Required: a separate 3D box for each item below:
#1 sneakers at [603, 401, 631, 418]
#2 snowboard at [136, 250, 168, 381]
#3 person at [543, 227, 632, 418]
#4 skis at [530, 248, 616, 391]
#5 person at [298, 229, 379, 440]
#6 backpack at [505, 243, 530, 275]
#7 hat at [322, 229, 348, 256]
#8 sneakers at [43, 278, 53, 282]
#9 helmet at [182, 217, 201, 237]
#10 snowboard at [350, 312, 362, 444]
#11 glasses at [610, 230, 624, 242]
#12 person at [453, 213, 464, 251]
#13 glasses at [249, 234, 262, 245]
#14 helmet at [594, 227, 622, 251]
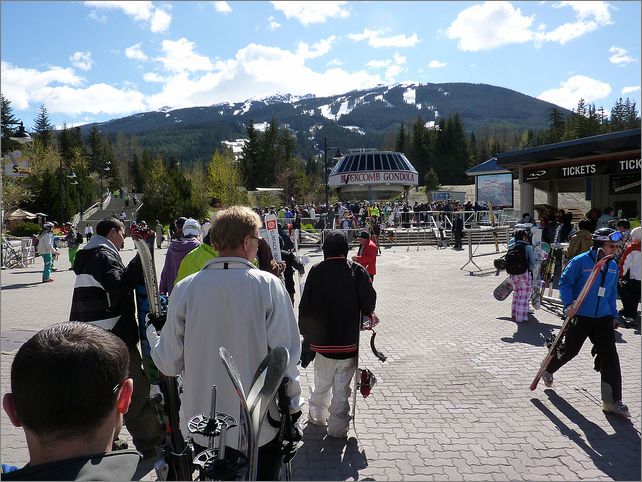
[{"bbox_3d":[3.260,1.854,6.016,0.128,0.133,0.284,1,-4,-35],"label":"sneakers"},{"bbox_3d":[-1.676,0.713,5.114,0.164,1.300,0.255,-4,-6,7],"label":"snowboard"},{"bbox_3d":[3.241,0.907,6.383,0.855,2.026,1.079,-2,5,-10],"label":"person"},{"bbox_3d":[3.414,1.122,7.412,0.236,1.800,0.190,23,19,31],"label":"skis"},{"bbox_3d":[0.160,0.972,5.751,0.698,2.121,0.545,1,6,27],"label":"person"},{"bbox_3d":[3.666,0.353,10.136,0.536,0.589,0.370,17,-16,-38],"label":"backpack"},{"bbox_3d":[0.167,0.038,5.860,0.299,0.397,0.238,3,6,10],"label":"hat"},{"bbox_3d":[-8.579,1.244,17.036,0.272,0.112,0.431,-4,6,-26],"label":"sneakers"},{"bbox_3d":[-1.627,-0.152,6.760,0.179,0.272,0.227,4,9,-8],"label":"helmet"},{"bbox_3d":[0.327,1.494,5.858,0.090,1.337,0.151,4,8,5],"label":"snowboard"},{"bbox_3d":[4.003,-0.057,7.362,0.214,0.091,0.227,1,4,29],"label":"glasses"},{"bbox_3d":[6.740,-0.368,26.716,0.415,1.617,1.289,0,5,12],"label":"person"},{"bbox_3d":[-0.526,-0.008,4.343,0.091,0.031,0.095,16,3,20],"label":"glasses"},{"bbox_3d":[3.542,0.002,6.720,0.265,0.274,0.237,20,11,38],"label":"helmet"}]
